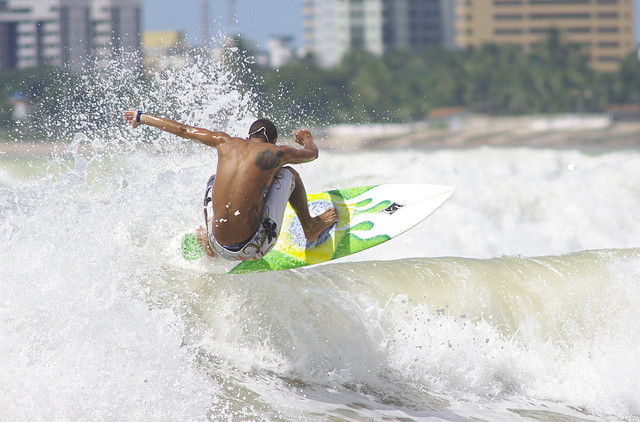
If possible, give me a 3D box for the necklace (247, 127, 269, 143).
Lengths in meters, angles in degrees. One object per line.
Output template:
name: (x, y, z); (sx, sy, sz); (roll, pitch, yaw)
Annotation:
necklace: (-1.296, -1.648, 22.727); (0.437, 0.292, 0.073); (2, 19, 3)
